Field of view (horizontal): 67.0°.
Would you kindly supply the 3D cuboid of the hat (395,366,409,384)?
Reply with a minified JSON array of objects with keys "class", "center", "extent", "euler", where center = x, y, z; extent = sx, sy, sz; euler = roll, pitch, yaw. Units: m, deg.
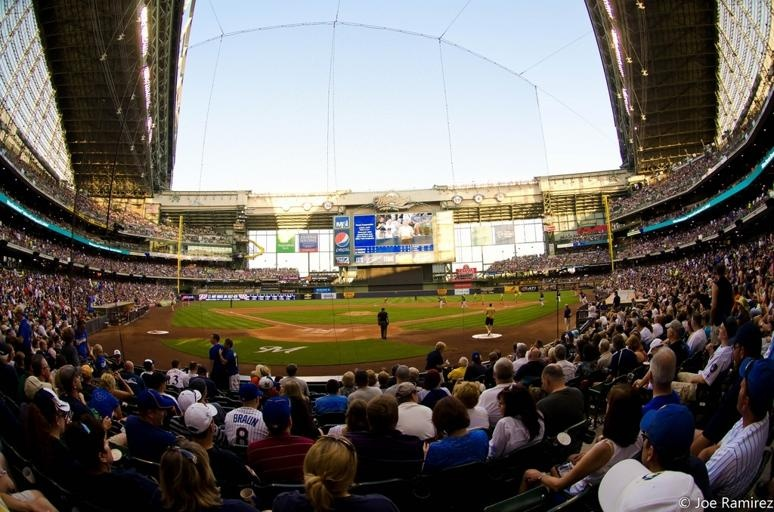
[{"class":"hat","center":[0.554,4.240,21.254],"extent":[0.488,0.561,0.597],"euler":[2,8,1]}]
